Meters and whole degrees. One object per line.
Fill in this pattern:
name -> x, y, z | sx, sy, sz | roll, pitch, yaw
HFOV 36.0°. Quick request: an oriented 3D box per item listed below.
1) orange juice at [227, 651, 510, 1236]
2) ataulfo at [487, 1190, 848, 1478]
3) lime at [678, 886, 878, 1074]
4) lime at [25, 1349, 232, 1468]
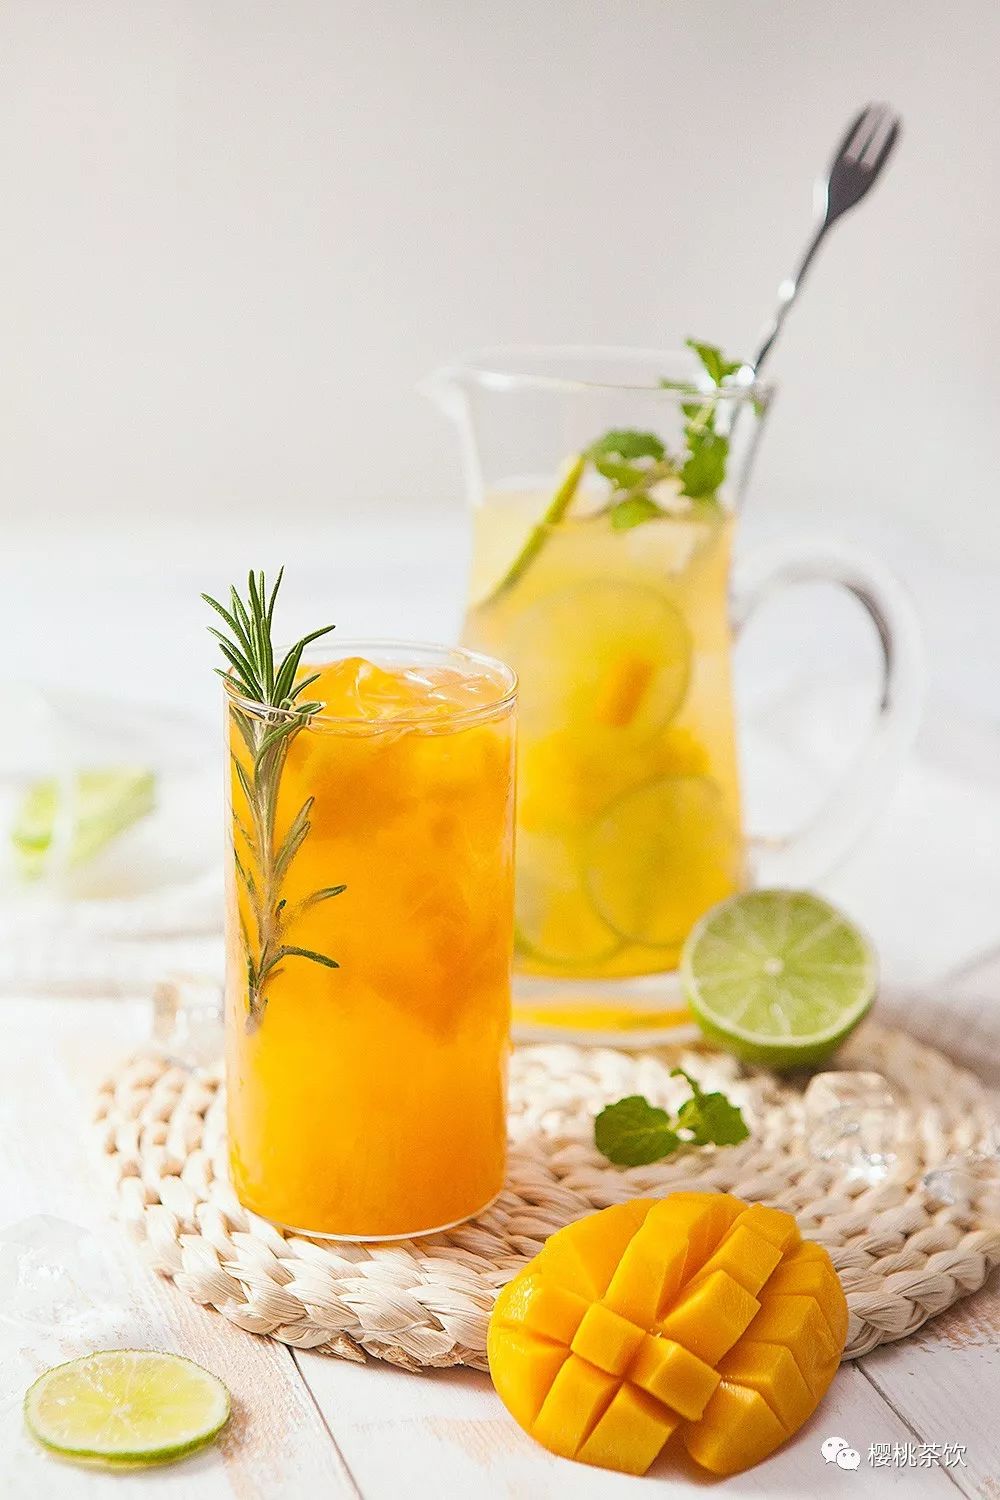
orange juice -> -0.061, 0.094, 0.745 | 0.118, 0.277, 0.155 | 8, 16, 27
ataulfo -> 0.072, 0.241, 0.651 | 0.112, 0.104, 0.140 | 13, 18, 42
lime -> 0.173, 0.147, 1.000 | 0.118, 0.107, 0.068 | 21, -24, 10
lime -> -0.154, 0.277, 0.641 | 0.081, 0.023, 0.071 | -4, 13, -18
